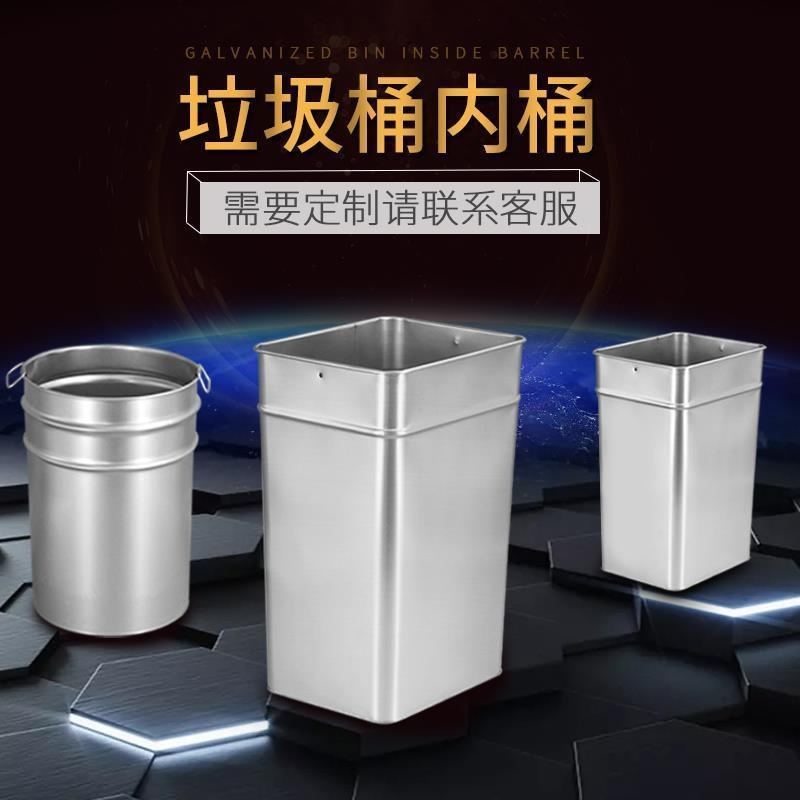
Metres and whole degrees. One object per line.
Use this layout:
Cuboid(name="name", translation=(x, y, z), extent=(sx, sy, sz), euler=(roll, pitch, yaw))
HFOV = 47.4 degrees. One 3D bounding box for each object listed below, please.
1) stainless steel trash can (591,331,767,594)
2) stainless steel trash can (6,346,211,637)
Cuboid(name="stainless steel trash can", translation=(0.659, 0.132, 2.206), extent=(0.327, 0.539, 0.435), euler=(9, 16, 36))
Cuboid(name="stainless steel trash can", translation=(-0.615, 0.189, 2.008), extent=(0.386, 0.580, 0.382), euler=(-3, 13, -9))
